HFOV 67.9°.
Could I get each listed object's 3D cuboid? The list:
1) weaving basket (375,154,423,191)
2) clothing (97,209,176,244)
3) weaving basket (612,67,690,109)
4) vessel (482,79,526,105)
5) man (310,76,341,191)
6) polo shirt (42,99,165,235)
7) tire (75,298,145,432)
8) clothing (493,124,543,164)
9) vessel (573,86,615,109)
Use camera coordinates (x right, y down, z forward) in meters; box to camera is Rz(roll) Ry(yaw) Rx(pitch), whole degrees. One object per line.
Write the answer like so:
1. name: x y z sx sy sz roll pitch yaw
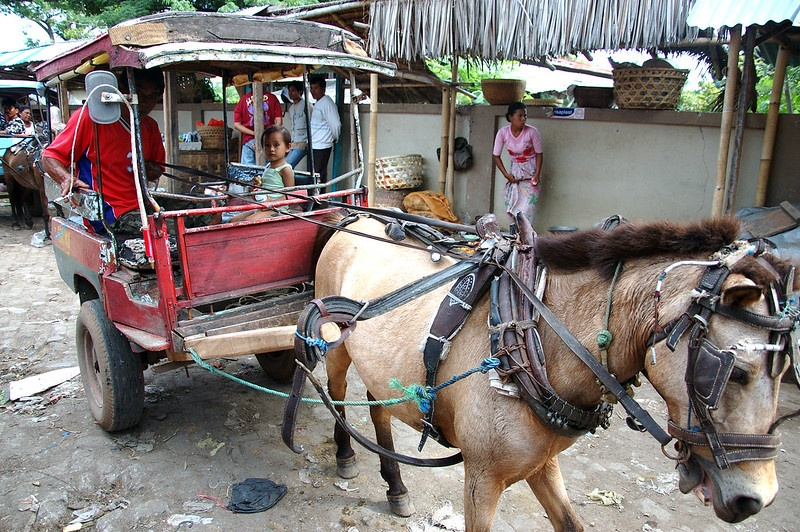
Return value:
1. weaving basket: -0.022 -1.550 9.960 0.636 0.395 0.645 0 5 36
2. clothing: -2.436 -0.382 5.547 0.591 0.210 0.449 10 -4 42
3. weaving basket: 3.526 -2.449 8.247 0.995 0.510 0.964 5 14 10
4. vessel: 1.634 -2.785 9.461 0.601 0.354 0.599 3 15 13
5. man: -1.219 -1.846 8.585 0.627 1.735 0.500 1 24 -12
6. polo shirt: -2.726 -1.035 5.711 1.232 1.118 0.411 -10 43 -43
7. tire: -2.479 0.846 5.119 0.324 1.105 0.977 -12 17 -40
8. clothing: 1.727 -1.796 8.714 0.719 0.510 0.363 3 37 21
9. vessel: 2.877 -2.511 8.828 0.553 0.264 0.383 3 12 10
